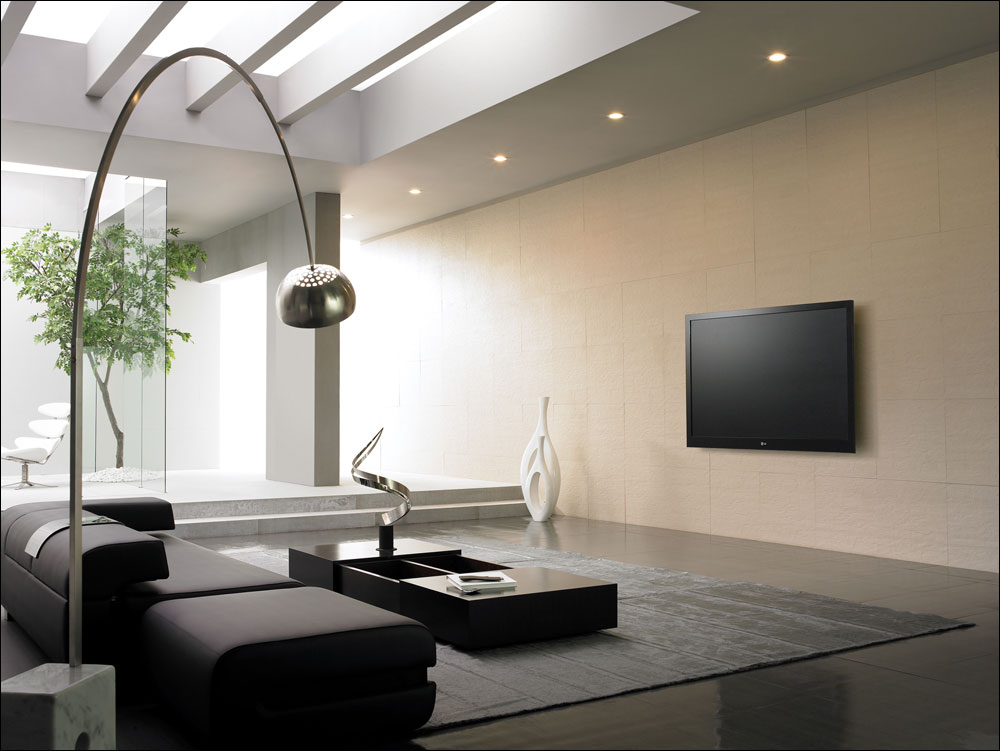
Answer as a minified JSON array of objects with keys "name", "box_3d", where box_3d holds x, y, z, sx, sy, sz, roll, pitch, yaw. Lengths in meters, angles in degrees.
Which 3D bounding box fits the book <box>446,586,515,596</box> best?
[{"name":"book","box_3d":[-0.112,1.172,3.936,0.380,0.026,0.218,0,-3,2]}]
